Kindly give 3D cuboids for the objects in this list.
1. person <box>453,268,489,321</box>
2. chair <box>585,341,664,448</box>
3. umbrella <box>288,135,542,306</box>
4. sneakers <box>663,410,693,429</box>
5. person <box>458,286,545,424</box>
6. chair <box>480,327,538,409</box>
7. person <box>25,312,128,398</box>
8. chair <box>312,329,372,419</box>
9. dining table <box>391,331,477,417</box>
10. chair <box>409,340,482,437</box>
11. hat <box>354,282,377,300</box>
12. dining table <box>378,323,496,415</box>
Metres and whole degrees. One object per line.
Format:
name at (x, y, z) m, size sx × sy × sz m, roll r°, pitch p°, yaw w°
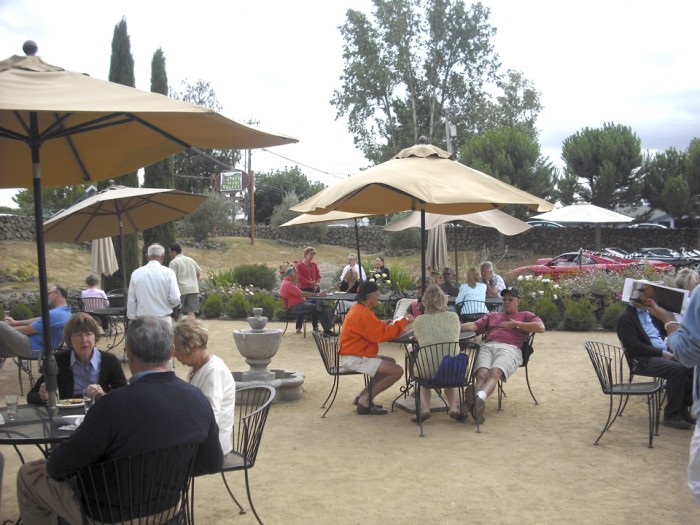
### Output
person at (1.913, 0.475, 14.685) m, size 0.479 × 0.884 × 0.590 m, roll 1°, pitch 7°, yaw 19°
chair at (3.201, 1.538, 11.039) m, size 0.761 × 1.157 × 0.741 m, roll -3°, pitch 1°, yaw 41°
umbrella at (0.903, -0.916, 11.709) m, size 2.206 × 1.825 × 2.423 m, roll 1°, pitch 5°, yaw 19°
sneakers at (3.839, 1.845, 11.035) m, size 0.347 × 0.280 × 0.133 m, roll -3°, pitch -1°, yaw 26°
person at (1.800, 1.060, 11.778) m, size 0.876 × 1.029 × 1.568 m, roll -1°, pitch 14°, yaw 27°
chair at (2.179, 1.393, 12.492) m, size 0.701 × 1.199 × 0.893 m, roll 0°, pitch -3°, yaw -9°
person at (-2.656, 1.028, 9.235) m, size 1.024 × 1.077 × 0.778 m, roll -1°, pitch 0°, yaw -13°
chair at (-0.058, 1.364, 12.151) m, size 0.700 × 1.090 × 0.741 m, roll -5°, pitch 12°, yaw 13°
dining table at (1.043, 1.341, 11.584) m, size 0.747 × 1.047 × 1.051 m, roll 0°, pitch 1°, yaw -7°
chair at (1.137, 1.455, 11.307) m, size 0.799 × 1.072 × 0.907 m, roll 1°, pitch 2°, yaw 4°
hat at (0.214, 0.341, 11.573) m, size 0.167 × 0.249 × 0.232 m, roll 1°, pitch 9°, yaw 12°
dining table at (1.054, 1.330, 11.578) m, size 0.965 × 1.482 × 0.978 m, roll -1°, pitch 10°, yaw -8°
